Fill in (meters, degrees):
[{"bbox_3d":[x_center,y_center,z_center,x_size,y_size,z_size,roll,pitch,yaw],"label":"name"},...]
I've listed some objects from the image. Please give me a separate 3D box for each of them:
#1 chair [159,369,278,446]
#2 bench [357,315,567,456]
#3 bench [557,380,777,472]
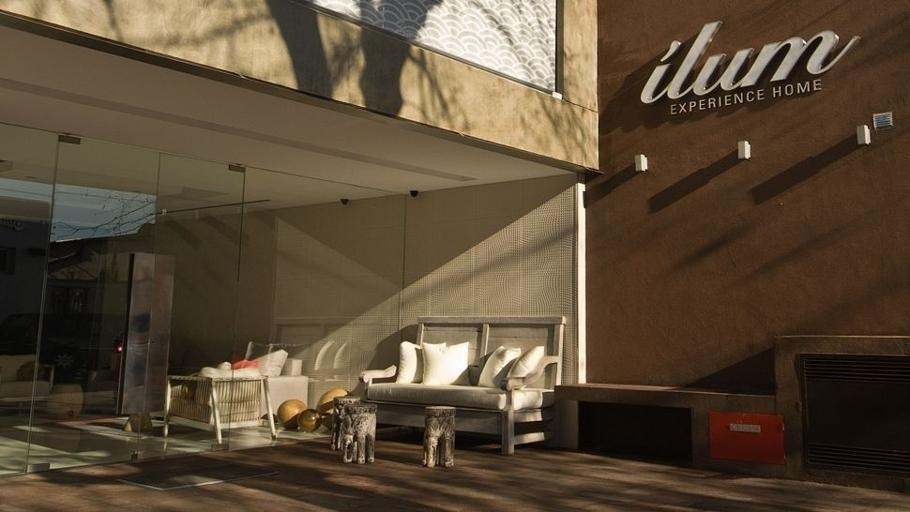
[{"bbox_3d":[-3.395,2.277,9.640,1.486,0.876,1.484,11,-16,-31],"label":"chair"},{"bbox_3d":[0.084,1.802,9.921,2.781,1.671,1.554,-4,-6,37],"label":"bench"},{"bbox_3d":[2.789,2.191,8.998,2.912,0.894,0.797,-4,4,32],"label":"bench"}]
